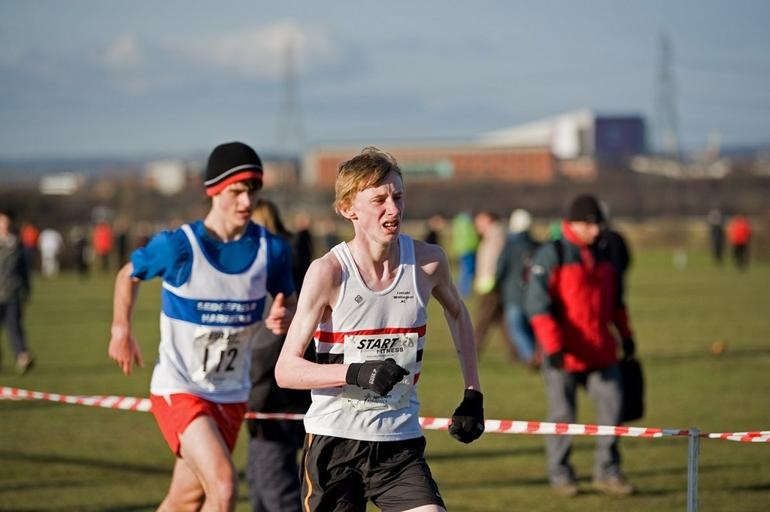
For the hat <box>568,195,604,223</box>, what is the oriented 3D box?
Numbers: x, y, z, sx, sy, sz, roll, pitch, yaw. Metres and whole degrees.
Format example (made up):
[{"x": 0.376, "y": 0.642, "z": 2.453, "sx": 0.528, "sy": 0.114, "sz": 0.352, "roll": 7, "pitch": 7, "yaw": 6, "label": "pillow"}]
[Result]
[{"x": 2.717, "y": -0.642, "z": 20.632, "sx": 0.319, "sy": 0.484, "sz": 0.205, "roll": 9, "pitch": 5, "yaw": 31, "label": "hat"}]

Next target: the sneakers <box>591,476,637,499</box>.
[{"x": 3.076, "y": 3.149, "z": 20.745, "sx": 0.504, "sy": 0.245, "sz": 0.250, "roll": -2, "pitch": -1, "yaw": 16, "label": "sneakers"}]

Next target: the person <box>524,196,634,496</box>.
[{"x": 2.622, "y": 1.202, "z": 20.711, "sx": 1.348, "sy": 4.136, "sz": 0.582, "roll": -2, "pitch": 3, "yaw": 7, "label": "person"}]
